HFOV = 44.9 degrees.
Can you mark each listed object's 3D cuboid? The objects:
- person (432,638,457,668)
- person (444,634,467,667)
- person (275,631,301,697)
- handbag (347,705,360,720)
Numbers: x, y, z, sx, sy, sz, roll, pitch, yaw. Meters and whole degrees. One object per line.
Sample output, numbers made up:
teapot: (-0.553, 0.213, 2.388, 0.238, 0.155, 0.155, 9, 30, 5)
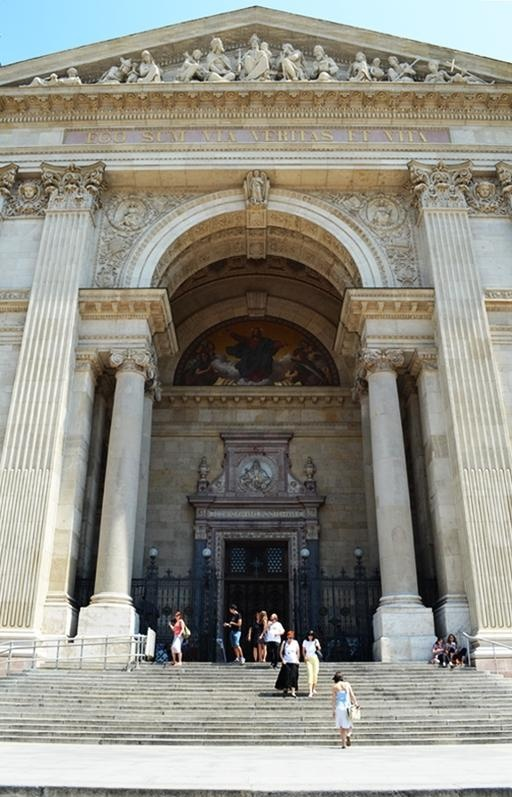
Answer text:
person: (4.010, 5.447, 13.210, 0.342, 0.483, 0.801, 2, 4, 10)
person: (4.316, 5.494, 13.432, 0.368, 0.708, 0.412, 11, -57, 1)
person: (0.527, 4.641, 10.887, 0.406, 1.041, 0.809, -1, -22, 1)
handbag: (1.217, 3.939, 7.783, 0.127, 0.171, 0.287, -7, -23, 15)
